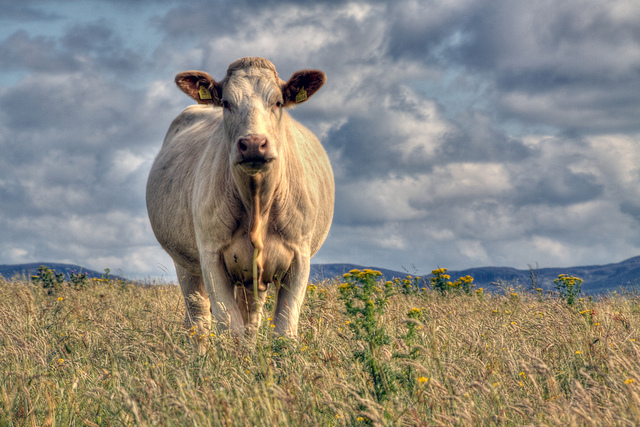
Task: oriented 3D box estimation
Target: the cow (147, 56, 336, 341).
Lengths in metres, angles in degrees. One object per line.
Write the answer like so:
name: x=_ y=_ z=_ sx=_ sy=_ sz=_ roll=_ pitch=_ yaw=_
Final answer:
cow: x=-1.257 y=0.062 z=9.613 sx=2.704 sy=4.218 sz=5.732 roll=-1 pitch=-6 yaw=-10
